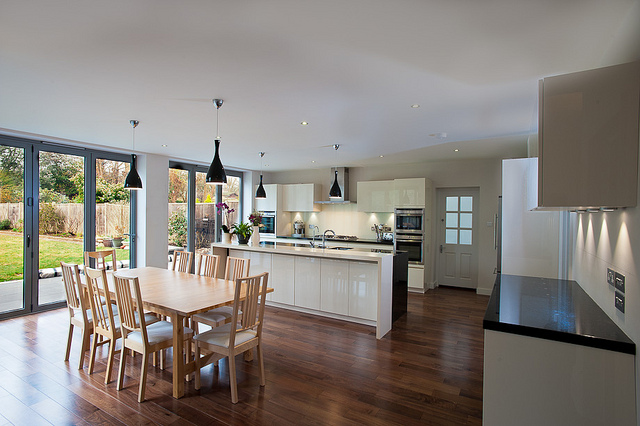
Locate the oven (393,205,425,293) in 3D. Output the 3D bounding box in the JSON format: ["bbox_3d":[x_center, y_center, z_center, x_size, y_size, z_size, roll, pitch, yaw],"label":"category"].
[{"bbox_3d":[1.705,0.751,8.378,0.744,1.699,0.527,4,-5,-22],"label":"oven"}]

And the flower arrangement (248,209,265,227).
[{"bbox_3d":[-1.346,0.111,8.636,0.357,0.440,0.400,3,-13,-16],"label":"flower arrangement"}]

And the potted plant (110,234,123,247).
[{"bbox_3d":[-3.772,0.513,7.599,0.161,0.127,0.173,-1,-2,8],"label":"potted plant"}]

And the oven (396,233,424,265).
[{"bbox_3d":[1.847,0.718,8.238,0.568,0.808,0.557,-5,-9,40],"label":"oven"}]

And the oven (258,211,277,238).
[{"bbox_3d":[-1.251,0.279,10.473,0.550,0.701,0.493,1,4,14],"label":"oven"}]

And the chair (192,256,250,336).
[{"bbox_3d":[-1.270,1.203,5.181,0.717,1.003,0.699,8,10,-15],"label":"chair"}]

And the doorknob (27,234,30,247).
[{"bbox_3d":[-4.621,0.426,6.508,0.024,0.168,0.034,-2,11,-14],"label":"doorknob"}]

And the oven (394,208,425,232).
[{"bbox_3d":[1.831,0.177,8.386,0.701,0.622,0.419,-3,-7,40],"label":"oven"}]

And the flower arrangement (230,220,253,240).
[{"bbox_3d":[-1.463,0.329,7.538,0.293,0.170,0.297,-6,-8,38],"label":"flower arrangement"}]

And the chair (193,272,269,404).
[{"bbox_3d":[-0.961,1.305,4.616,0.916,1.292,0.814,-4,12,-26],"label":"chair"}]

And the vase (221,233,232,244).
[{"bbox_3d":[-1.731,0.465,7.558,0.181,0.134,0.176,-3,-5,22],"label":"vase"}]

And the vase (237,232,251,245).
[{"bbox_3d":[-1.377,0.463,7.431,0.190,0.143,0.189,1,-5,-17],"label":"vase"}]

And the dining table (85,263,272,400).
[{"bbox_3d":[-1.785,0.934,4.963,2.278,1.109,1.200,1,0,40],"label":"dining table"}]

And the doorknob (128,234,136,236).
[{"bbox_3d":[-3.594,0.422,7.812,0.023,0.041,0.119,8,12,34],"label":"doorknob"}]
